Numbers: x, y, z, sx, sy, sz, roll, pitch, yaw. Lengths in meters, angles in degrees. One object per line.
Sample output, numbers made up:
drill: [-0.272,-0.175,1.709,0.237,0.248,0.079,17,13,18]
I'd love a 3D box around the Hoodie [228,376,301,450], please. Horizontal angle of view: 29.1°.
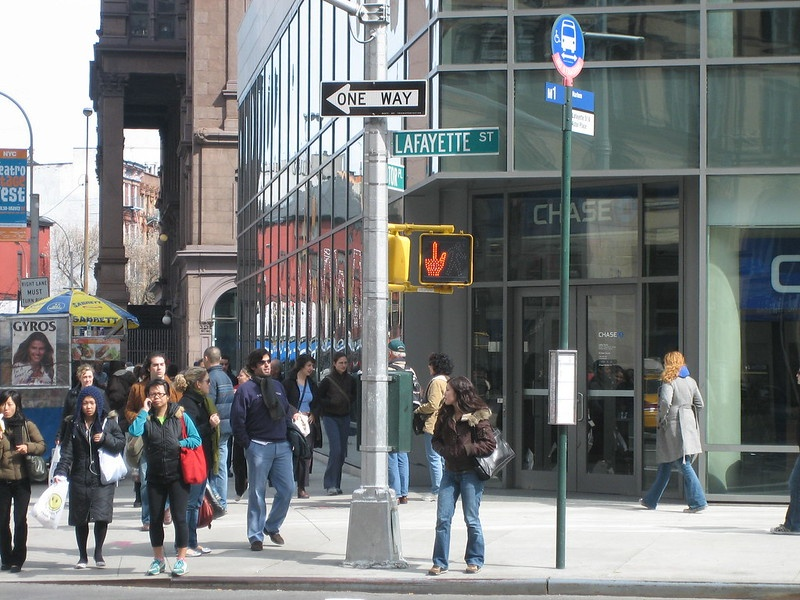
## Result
Hoodie: [-1.903,1.515,21.381,0.618,0.994,1.093,0,1,44]

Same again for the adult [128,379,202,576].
adult: [-3.048,2.296,20.101,1.012,2.489,0.747,-2,-5,-12]

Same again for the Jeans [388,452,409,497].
Jeans: [0.005,2.756,24.249,0.202,0.698,0.314,-14,-6,13]

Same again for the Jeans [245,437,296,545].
Jeans: [-1.789,2.607,21.241,0.635,1.670,0.593,1,-26,-6]

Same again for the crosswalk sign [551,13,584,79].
crosswalk sign: [2.228,-3.335,20.387,0.298,0.996,0.715,-2,-3,20]

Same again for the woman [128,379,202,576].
woman: [-3.063,2.297,20.063,0.993,2.492,0.810,-1,-4,-9]

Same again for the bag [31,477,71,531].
bag: [-4.631,2.686,20.537,0.479,0.786,0.287,24,11,-8]

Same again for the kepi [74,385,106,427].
kepi: [-4.129,1.424,20.836,0.586,0.676,0.493,0,-13,-11]

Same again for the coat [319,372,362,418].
coat: [-1.013,1.556,25.932,0.816,0.799,0.449,-1,3,-28]

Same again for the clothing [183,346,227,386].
clothing: [-2.907,0.942,23.165,0.522,0.531,0.339,5,15,-9]

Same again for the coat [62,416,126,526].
coat: [-4.109,2.325,20.561,0.845,2.094,0.718,-3,-9,-5]

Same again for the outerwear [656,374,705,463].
outerwear: [4.255,1.764,23.345,0.793,1.430,0.619,2,-3,-32]

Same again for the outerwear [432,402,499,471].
outerwear: [0.795,1.758,19.715,0.846,0.826,0.519,3,3,22]
